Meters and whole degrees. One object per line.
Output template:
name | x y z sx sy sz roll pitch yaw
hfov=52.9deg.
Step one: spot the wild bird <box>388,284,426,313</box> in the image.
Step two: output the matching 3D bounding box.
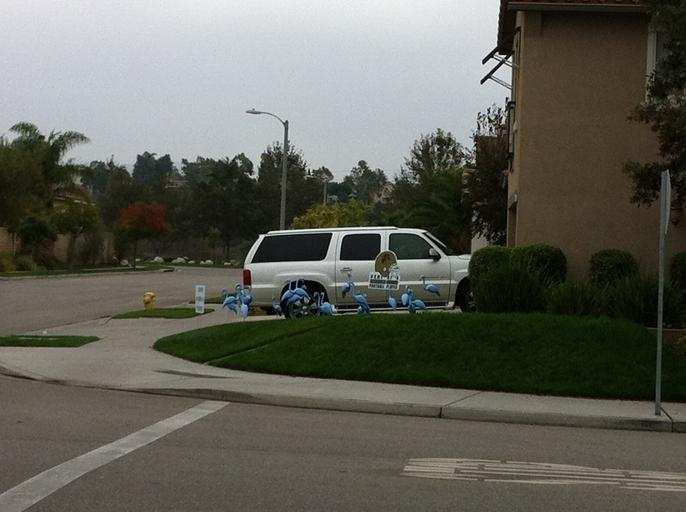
wild bird | 1.448 0.919 15.138 0.527 0.419 0.799 1 -2 -6
